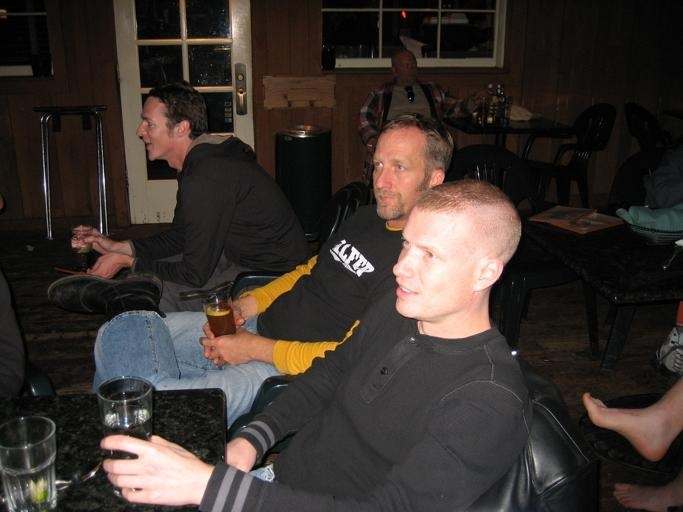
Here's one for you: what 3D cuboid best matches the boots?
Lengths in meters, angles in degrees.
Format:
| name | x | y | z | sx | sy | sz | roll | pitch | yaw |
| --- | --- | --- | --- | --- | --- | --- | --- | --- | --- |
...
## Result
| name | x | y | z | sx | sy | sz | roll | pitch | yaw |
| --- | --- | --- | --- | --- | --- | --- | --- | --- | --- |
| boots | -1.062 | 0.181 | 2.573 | 0.543 | 0.204 | 0.316 | 0 | 9 | -4 |

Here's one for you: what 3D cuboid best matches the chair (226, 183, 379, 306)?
| name | x | y | z | sx | sy | sz | roll | pitch | yaw |
| --- | --- | --- | --- | --- | --- | --- | --- | --- | --- |
| chair | -0.192 | -0.161 | 3.094 | 0.707 | 0.824 | 0.584 | 1 | 18 | -2 |

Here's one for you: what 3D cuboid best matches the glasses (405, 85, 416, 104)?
| name | x | y | z | sx | sy | sz | roll | pitch | yaw |
| --- | --- | --- | --- | --- | --- | --- | --- | --- | --- |
| glasses | 0.674 | -1.579 | 5.456 | 0.091 | 0.158 | 0.038 | -5 | -4 | 2 |
